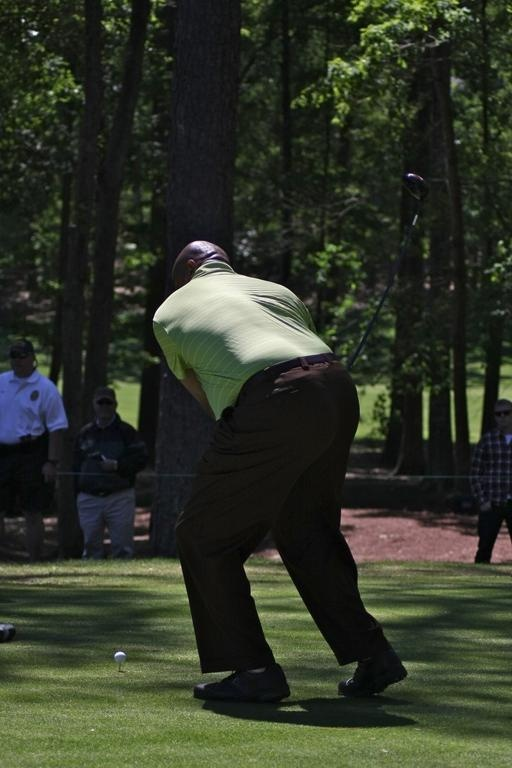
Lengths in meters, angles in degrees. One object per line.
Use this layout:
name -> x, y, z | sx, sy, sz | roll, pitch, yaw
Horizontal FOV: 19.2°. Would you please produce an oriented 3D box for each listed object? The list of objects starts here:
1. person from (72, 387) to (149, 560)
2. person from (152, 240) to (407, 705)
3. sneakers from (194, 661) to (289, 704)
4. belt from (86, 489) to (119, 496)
person -> -1.137, 0.686, 11.464 | 0.504, 1.332, 0.444 | -1, 4, -34
person -> 0.078, 0.309, 6.261 | 0.890, 1.963, 0.936 | -7, -11, 8
sneakers -> -0.026, 1.160, 5.896 | 0.412, 0.155, 0.143 | 1, -15, 2
belt -> -1.154, 0.819, 11.323 | 0.203, 0.049, 0.037 | 11, -2, 3
